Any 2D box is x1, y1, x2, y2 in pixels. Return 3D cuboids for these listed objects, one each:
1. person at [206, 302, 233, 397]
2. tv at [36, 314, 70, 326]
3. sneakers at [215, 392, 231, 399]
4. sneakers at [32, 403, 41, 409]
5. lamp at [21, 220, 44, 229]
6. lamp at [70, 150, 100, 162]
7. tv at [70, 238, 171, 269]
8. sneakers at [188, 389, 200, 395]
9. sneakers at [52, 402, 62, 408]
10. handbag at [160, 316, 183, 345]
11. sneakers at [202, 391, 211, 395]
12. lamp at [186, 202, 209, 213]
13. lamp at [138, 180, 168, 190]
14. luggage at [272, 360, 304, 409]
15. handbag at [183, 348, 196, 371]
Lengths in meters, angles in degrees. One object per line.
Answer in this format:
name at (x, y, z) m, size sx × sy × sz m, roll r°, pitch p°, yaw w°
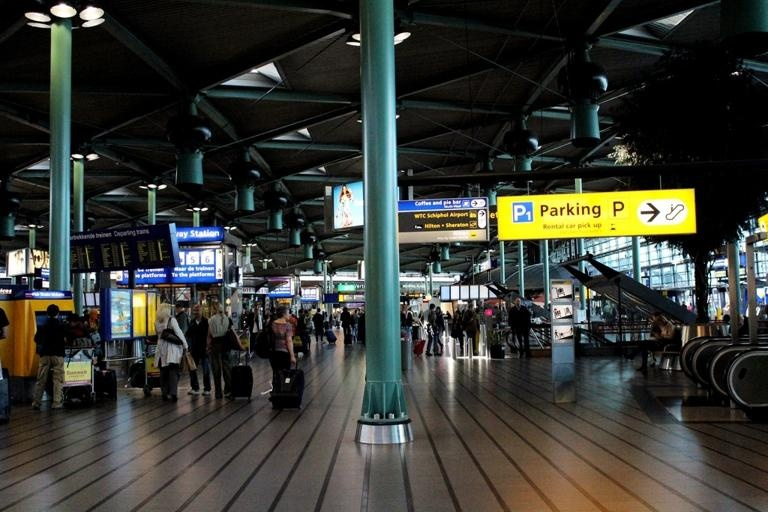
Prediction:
person at (-3.826, 2.197, 15.195) m, size 0.569 × 2.156 × 1.014 m, roll -3°, pitch -4°, yaw -18°
tv at (-7.500, 1.439, 14.814) m, size 1.037 × 0.255 × 0.419 m, roll -5°, pitch -4°, yaw 26°
sneakers at (-3.677, 3.205, 14.843) m, size 0.315 × 0.092 × 0.387 m, roll -2°, pitch -4°, yaw -16°
sneakers at (-7.359, 3.190, 13.723) m, size 0.216 × 0.119 × 0.106 m, roll -1°, pitch 2°, yaw -5°
lamp at (-18.726, -1.705, 34.826) m, size 0.764 × 0.167 × 0.761 m, roll -7°, pitch -9°, yaw 38°
lamp at (-9.281, -3.134, 20.267) m, size 0.806 × 0.204 × 0.777 m, roll 2°, pitch -4°, yaw -41°
tv at (-6.959, -0.022, 17.199) m, size 3.254 × 0.774 × 0.325 m, roll -5°, pitch -4°, yaw 21°
sneakers at (-4.578, 3.278, 15.603) m, size 0.302 × 0.104 × 0.114 m, roll 2°, pitch -13°, yaw -1°
sneakers at (-6.890, 3.152, 13.715) m, size 0.202 × 0.136 × 0.143 m, roll 0°, pitch -5°, yaw -39°
handbag at (-4.805, 1.695, 14.617) m, size 0.674 × 0.705 × 0.262 m, roll 6°, pitch -19°, yaw -22°
sneakers at (-4.199, 3.251, 15.383) m, size 0.149 × 0.055 × 0.132 m, roll 1°, pitch -5°, yaw -8°
lamp at (-7.822, -2.016, 26.802) m, size 0.824 × 0.243 × 0.861 m, roll -4°, pitch -6°, yaw 37°
lamp at (-9.047, -2.765, 25.496) m, size 0.870 × 0.268 × 0.774 m, roll -3°, pitch -4°, yaw 2°
luggage at (-2.208, 2.728, 13.652) m, size 0.821 × 0.869 × 0.879 m, roll 12°, pitch -6°, yaw -32°
handbag at (-4.470, 2.391, 14.904) m, size 0.284 × 0.517 × 0.567 m, roll -7°, pitch -18°, yaw -9°
